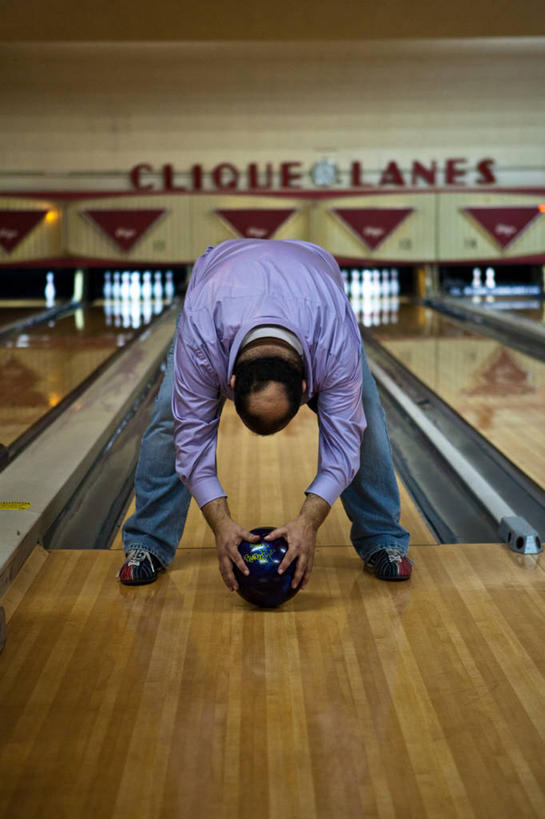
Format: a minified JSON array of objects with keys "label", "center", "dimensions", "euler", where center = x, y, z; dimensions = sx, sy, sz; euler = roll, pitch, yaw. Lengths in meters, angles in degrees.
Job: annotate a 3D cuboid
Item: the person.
[{"label":"person","center":[0.014,0.035,1.167],"dimensions":[0.508,0.567,0.728],"euler":[-2,52,10]}]
